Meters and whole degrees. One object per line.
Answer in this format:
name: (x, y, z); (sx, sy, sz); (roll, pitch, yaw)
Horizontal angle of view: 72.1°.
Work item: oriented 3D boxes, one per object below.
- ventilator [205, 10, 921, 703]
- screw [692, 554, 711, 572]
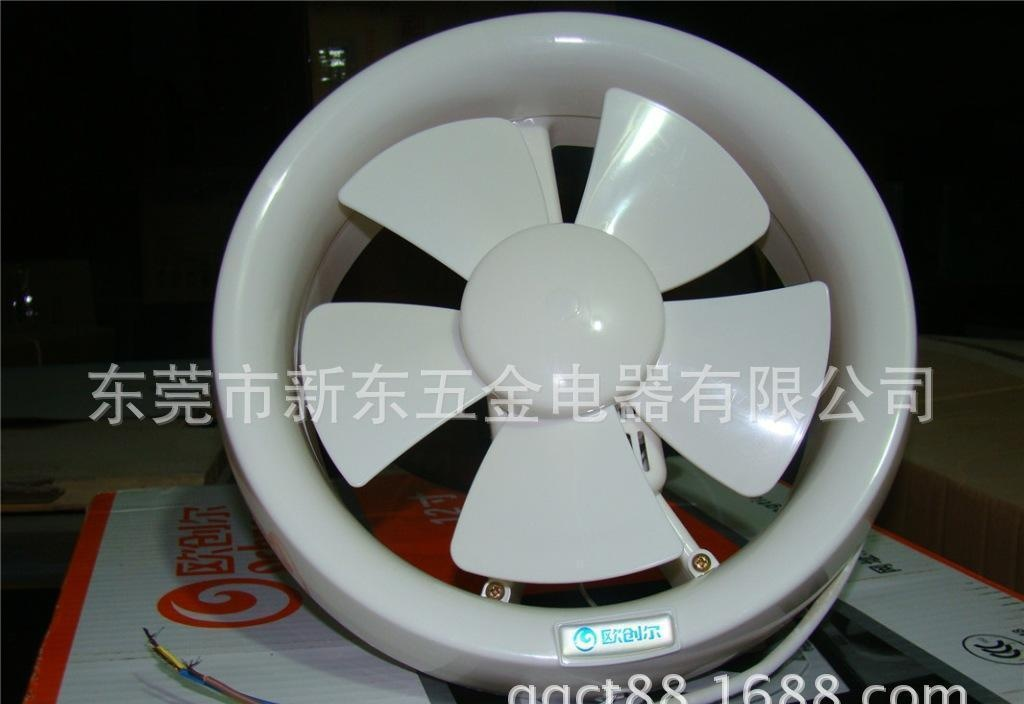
ventilator: (0.168, 0.000, 2.191); (2.038, 0.718, 1.928); (-11, 73, -1)
screw: (0.599, 0.649, 2.201); (0.052, 0.013, 0.056); (30, 92, 8)
